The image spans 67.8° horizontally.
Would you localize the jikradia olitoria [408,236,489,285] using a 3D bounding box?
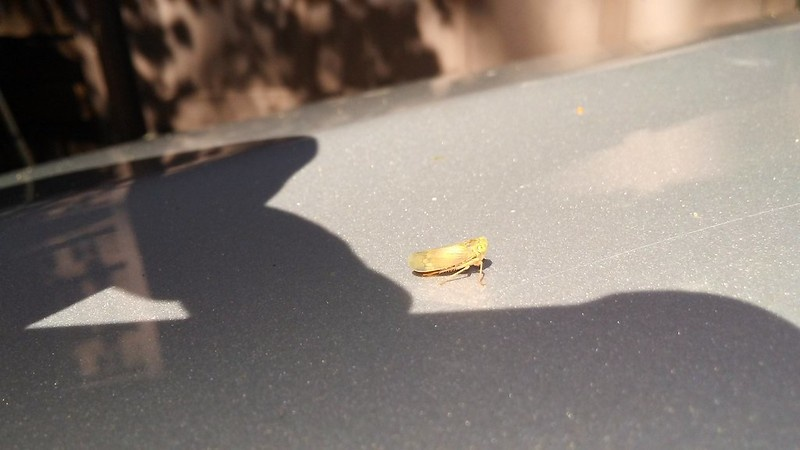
[{"bbox_3d":[0.162,0.111,1.955,0.204,0.099,0.164,-1,41,-2],"label":"jikradia olitoria"}]
